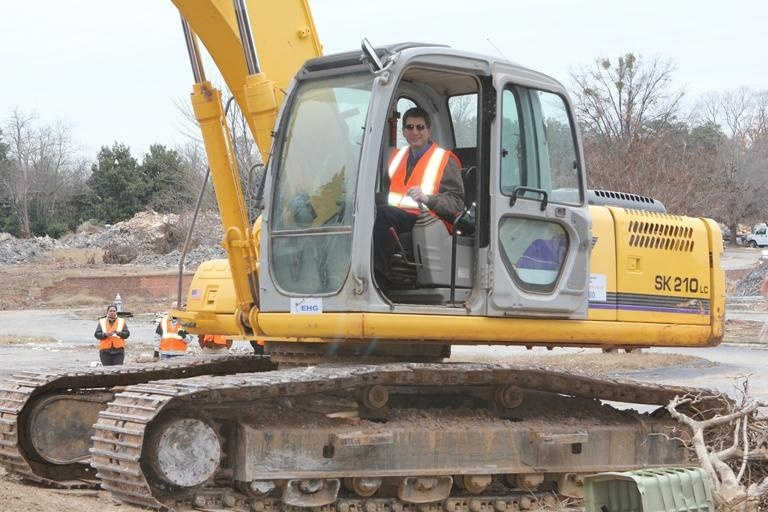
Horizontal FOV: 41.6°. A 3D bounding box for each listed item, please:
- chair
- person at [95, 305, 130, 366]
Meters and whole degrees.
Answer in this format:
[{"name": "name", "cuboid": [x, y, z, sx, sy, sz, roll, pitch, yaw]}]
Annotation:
[{"name": "chair", "cuboid": [0.574, -0.401, 12.283, 1.051, 1.853, 0.543, 0, 1, 0]}, {"name": "person", "cuboid": [-5.081, 1.704, 18.737, 0.515, 1.541, 0.511, 1, 3, -11]}]
